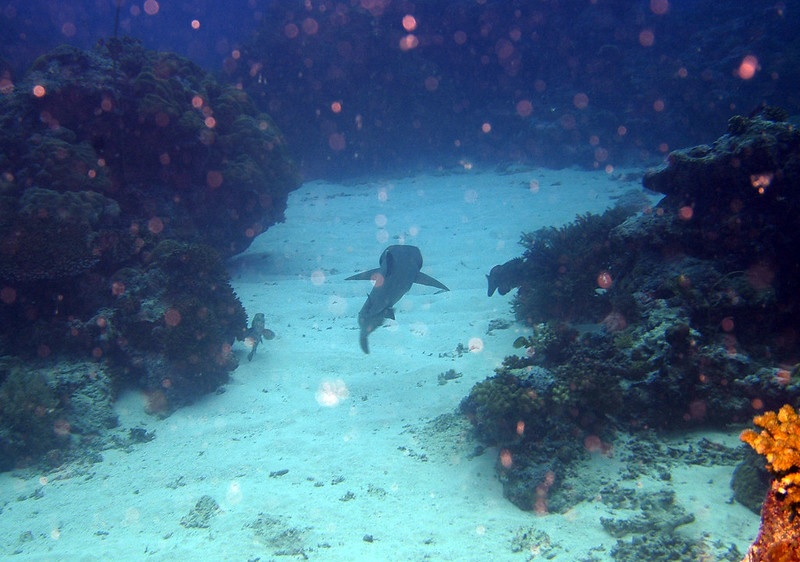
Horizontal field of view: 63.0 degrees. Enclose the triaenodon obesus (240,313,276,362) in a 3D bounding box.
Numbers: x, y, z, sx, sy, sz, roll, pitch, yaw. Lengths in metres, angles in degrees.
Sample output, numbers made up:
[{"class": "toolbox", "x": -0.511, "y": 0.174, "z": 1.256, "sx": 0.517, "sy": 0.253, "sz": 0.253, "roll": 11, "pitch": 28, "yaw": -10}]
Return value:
[{"class": "triaenodon obesus", "x": -4.184, "y": 1.717, "z": 19.487, "sx": 0.731, "sy": 1.381, "sz": 0.666, "roll": 5, "pitch": -6, "yaw": -16}]
